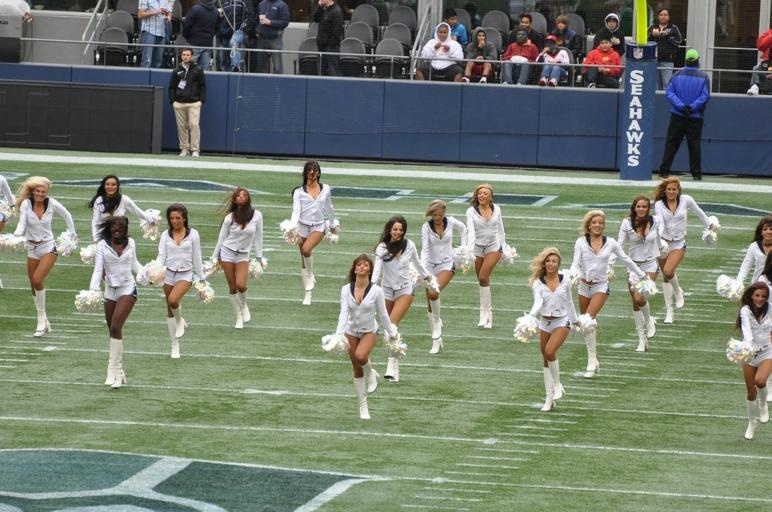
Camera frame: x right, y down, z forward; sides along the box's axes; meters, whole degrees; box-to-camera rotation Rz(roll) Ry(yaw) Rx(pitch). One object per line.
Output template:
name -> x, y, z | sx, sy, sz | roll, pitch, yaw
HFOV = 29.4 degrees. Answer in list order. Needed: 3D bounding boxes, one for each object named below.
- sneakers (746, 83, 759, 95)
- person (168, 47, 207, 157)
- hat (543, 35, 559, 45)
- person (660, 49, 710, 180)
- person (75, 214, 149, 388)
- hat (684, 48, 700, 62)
sneakers -> 9.192, -4.127, 36.828 | 0.287, 0.283, 0.142 | 1, 6, 4
person -> -5.092, -3.883, 37.903 | 0.899, 2.723, 0.917 | 0, 6, -7
hat -> 4.230, -5.531, 37.634 | 0.226, 0.321, 0.346 | 8, 28, 18
person -> 7.237, -3.429, 35.542 | 1.024, 2.973, 1.042 | 2, 6, 9
person -> -4.489, 0.763, 24.367 | 0.934, 2.850, 1.401 | 0, 6, -9
hat -> 7.341, -4.781, 35.251 | 0.368, 0.307, 0.538 | -2, 25, 9
